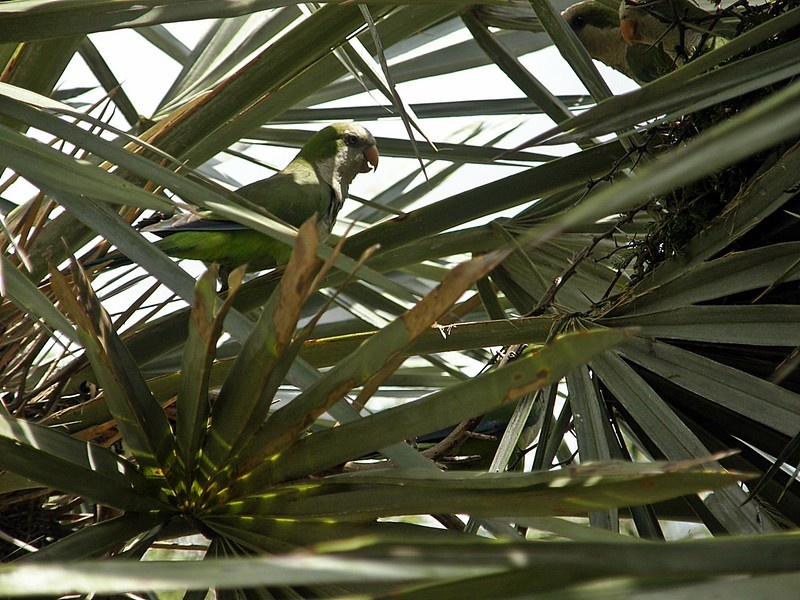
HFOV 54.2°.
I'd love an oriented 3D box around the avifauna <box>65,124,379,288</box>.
[{"bbox_3d":[-0.472,-0.244,2.161,0.862,0.432,0.257,0,-2,-2],"label":"avifauna"}]
